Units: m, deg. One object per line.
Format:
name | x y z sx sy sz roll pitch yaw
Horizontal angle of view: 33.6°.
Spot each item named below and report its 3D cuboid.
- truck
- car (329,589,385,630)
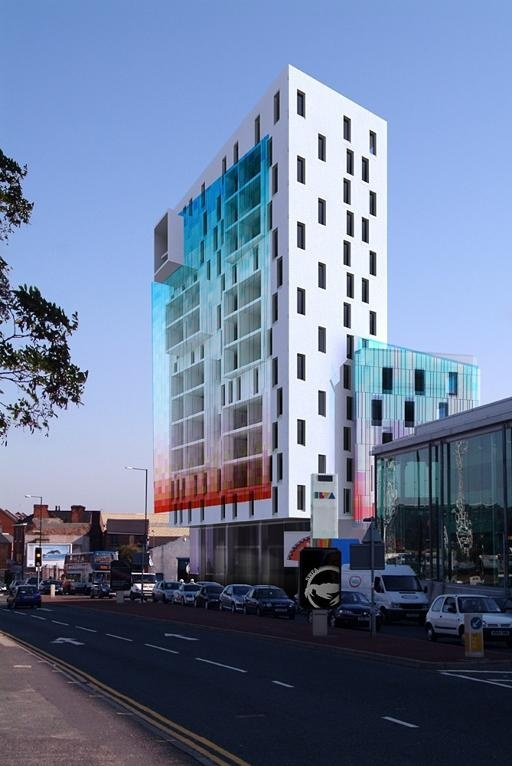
truck | 4.905 8.465 35.554 2.435 3.177 5.563 2 -14 -22
car | 3.531 8.119 30.054 1.358 1.410 2.681 3 -15 -15
